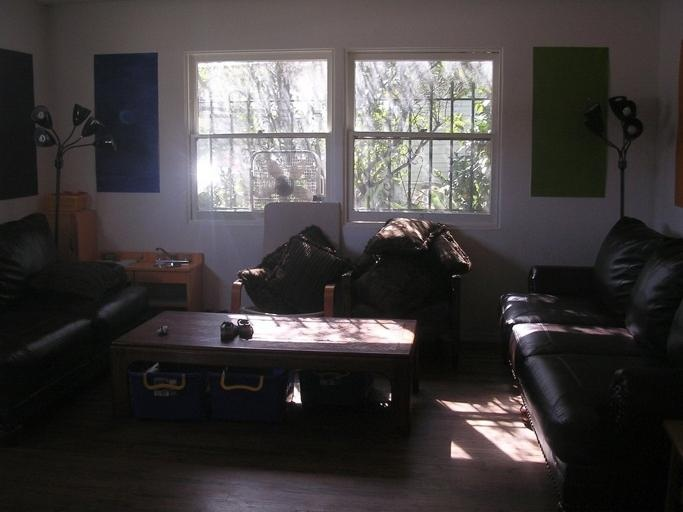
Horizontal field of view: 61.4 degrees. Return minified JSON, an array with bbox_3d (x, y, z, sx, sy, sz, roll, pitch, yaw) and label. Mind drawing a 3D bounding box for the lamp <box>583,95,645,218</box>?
[{"bbox_3d":[2.175,-0.787,4.624,0.489,0.952,0.444,5,14,17],"label":"lamp"}]
